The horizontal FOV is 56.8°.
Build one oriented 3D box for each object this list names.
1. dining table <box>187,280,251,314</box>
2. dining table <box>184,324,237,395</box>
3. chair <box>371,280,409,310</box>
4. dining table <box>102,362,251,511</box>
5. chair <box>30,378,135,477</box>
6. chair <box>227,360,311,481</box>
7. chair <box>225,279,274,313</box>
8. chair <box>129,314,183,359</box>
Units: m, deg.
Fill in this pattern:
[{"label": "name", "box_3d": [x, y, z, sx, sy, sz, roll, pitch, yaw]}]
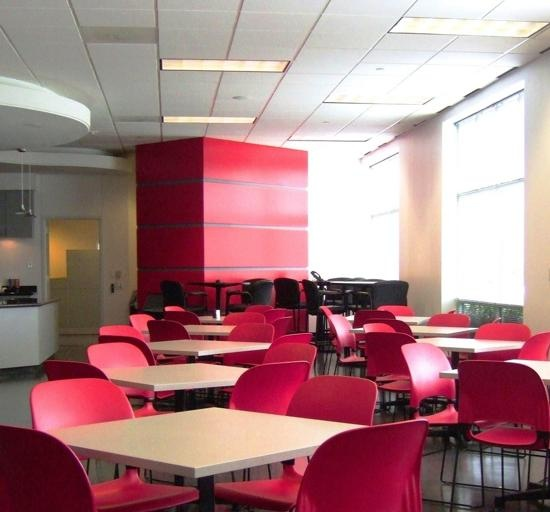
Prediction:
[{"label": "dining table", "box_3d": [-0.992, 0.553, 8.508, 0.660, 0.680, 0.688, 1, 4, 5]}, {"label": "dining table", "box_3d": [-0.575, 0.888, 4.590, 0.452, 0.463, 0.458, 2, -5, -20]}, {"label": "chair", "box_3d": [1.809, 0.608, 8.175, 0.425, 0.605, 0.484, 2, -1, 0]}, {"label": "dining table", "box_3d": [-0.468, 0.895, 2.661, 0.606, 0.625, 0.629, 0, 1, 34]}, {"label": "chair", "box_3d": [-0.783, 0.670, 2.036, 0.272, 0.370, 0.258, 0, -15, -28]}, {"label": "chair", "box_3d": [-0.019, 0.653, 2.367, 0.249, 0.461, 0.323, -1, -7, 19]}, {"label": "chair", "box_3d": [-0.426, 0.647, 8.504, 0.622, 0.787, 0.588, 2, -2, -11]}, {"label": "chair", "box_3d": [-0.945, 0.642, 4.022, 0.333, 0.492, 0.378, -5, -7, 26]}]
